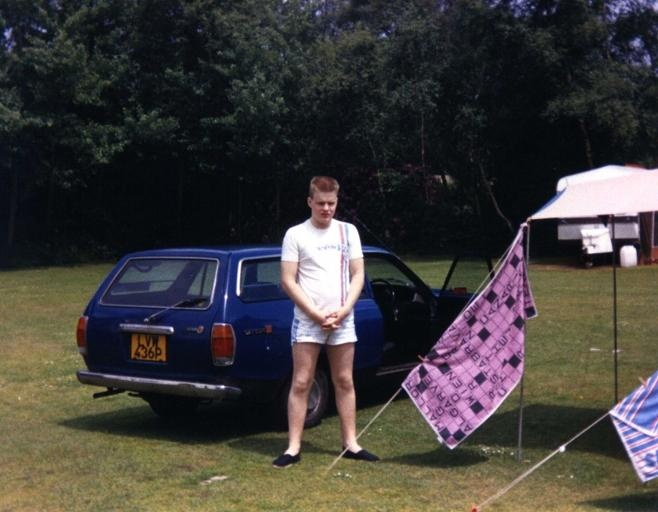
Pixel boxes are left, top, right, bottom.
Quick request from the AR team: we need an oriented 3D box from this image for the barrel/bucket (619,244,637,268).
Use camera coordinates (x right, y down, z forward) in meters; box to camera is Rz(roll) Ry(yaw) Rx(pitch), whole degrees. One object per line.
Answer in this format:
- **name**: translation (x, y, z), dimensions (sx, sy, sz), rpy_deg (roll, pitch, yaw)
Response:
- **barrel/bucket**: translation (9.327, 0.043, 26.044), dimensions (0.500, 0.637, 1.022), rpy_deg (-1, 3, 20)

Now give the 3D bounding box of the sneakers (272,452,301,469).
- **sneakers**: translation (-0.419, 2.033, 8.233), dimensions (0.119, 0.076, 0.248), rpy_deg (-3, -5, 37)

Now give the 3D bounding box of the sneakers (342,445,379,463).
- **sneakers**: translation (0.318, 2.007, 8.392), dimensions (0.361, 0.109, 0.144), rpy_deg (0, 6, 6)

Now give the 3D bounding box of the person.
- **person**: translation (-0.053, 0.647, 8.298), dimensions (0.914, 2.843, 0.431), rpy_deg (-2, 3, 1)

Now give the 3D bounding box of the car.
- **car**: translation (-0.512, 0.686, 9.922), dimensions (2.155, 1.291, 3.737), rpy_deg (2, 8, 42)
